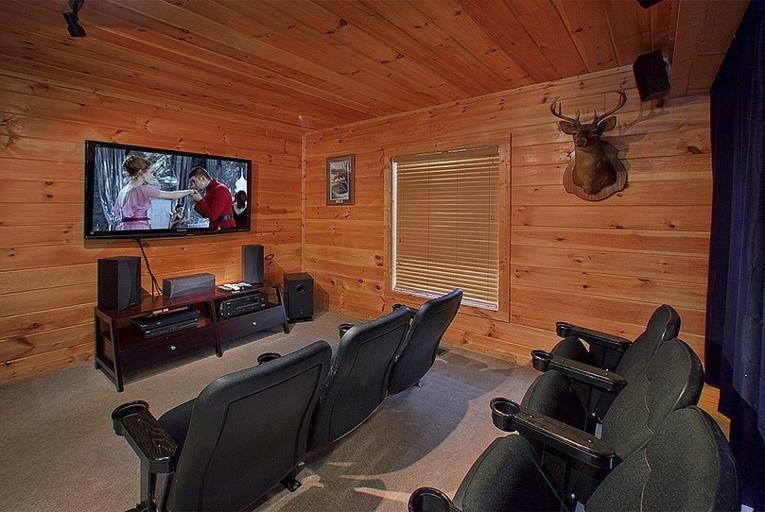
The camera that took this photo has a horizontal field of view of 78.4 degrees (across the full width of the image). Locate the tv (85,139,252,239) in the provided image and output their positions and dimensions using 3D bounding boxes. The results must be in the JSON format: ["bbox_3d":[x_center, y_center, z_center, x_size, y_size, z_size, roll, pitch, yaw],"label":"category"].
[{"bbox_3d":[-2.436,-0.708,5.104,0.109,0.672,1.408,4,4,41],"label":"tv"}]

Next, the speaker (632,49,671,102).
[{"bbox_3d":[2.140,-1.425,3.690,0.269,0.378,0.315,2,8,26],"label":"speaker"}]

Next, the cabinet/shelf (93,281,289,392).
[{"bbox_3d":[-2.053,0.732,5.178,0.638,0.609,1.985,8,13,38],"label":"cabinet/shelf"}]

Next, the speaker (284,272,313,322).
[{"bbox_3d":[-1.032,0.602,6.060,0.380,0.496,0.313,-3,-24,-3],"label":"speaker"}]

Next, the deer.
[{"bbox_3d":[1.877,-0.892,4.137,0.553,0.832,0.470,2,8,24],"label":"deer"}]
